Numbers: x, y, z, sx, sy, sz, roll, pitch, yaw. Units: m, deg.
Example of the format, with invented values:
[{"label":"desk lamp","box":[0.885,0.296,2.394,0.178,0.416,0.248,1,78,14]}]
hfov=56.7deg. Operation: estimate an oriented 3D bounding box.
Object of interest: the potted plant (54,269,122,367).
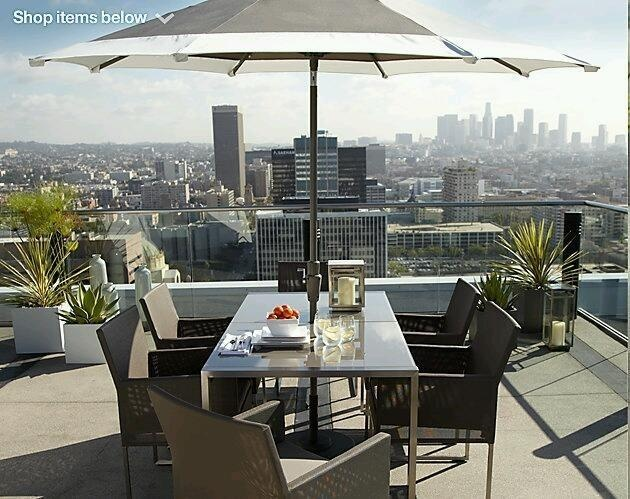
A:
[{"label":"potted plant","box":[-1.957,0.586,5.417,0.755,0.966,0.863,0,-3,-5]}]

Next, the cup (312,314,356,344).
[{"label":"cup","box":[0.111,0.421,3.247,0.170,0.139,0.173,0,-3,0]}]

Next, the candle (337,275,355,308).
[{"label":"candle","box":[0.194,0.269,3.756,0.142,0.185,0.152,0,3,2]}]

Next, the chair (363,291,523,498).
[{"label":"chair","box":[0.650,0.771,3.766,0.967,1.405,0.948,1,4,2]}]

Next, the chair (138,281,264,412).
[{"label":"chair","box":[-0.693,0.564,4.090,0.711,1.069,0.672,-3,14,2]}]

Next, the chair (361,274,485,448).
[{"label":"chair","box":[0.627,0.618,4.001,0.776,1.195,0.785,2,16,4]}]

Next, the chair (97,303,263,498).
[{"label":"chair","box":[-0.751,0.839,3.841,0.958,1.435,0.938,-1,7,0]}]
